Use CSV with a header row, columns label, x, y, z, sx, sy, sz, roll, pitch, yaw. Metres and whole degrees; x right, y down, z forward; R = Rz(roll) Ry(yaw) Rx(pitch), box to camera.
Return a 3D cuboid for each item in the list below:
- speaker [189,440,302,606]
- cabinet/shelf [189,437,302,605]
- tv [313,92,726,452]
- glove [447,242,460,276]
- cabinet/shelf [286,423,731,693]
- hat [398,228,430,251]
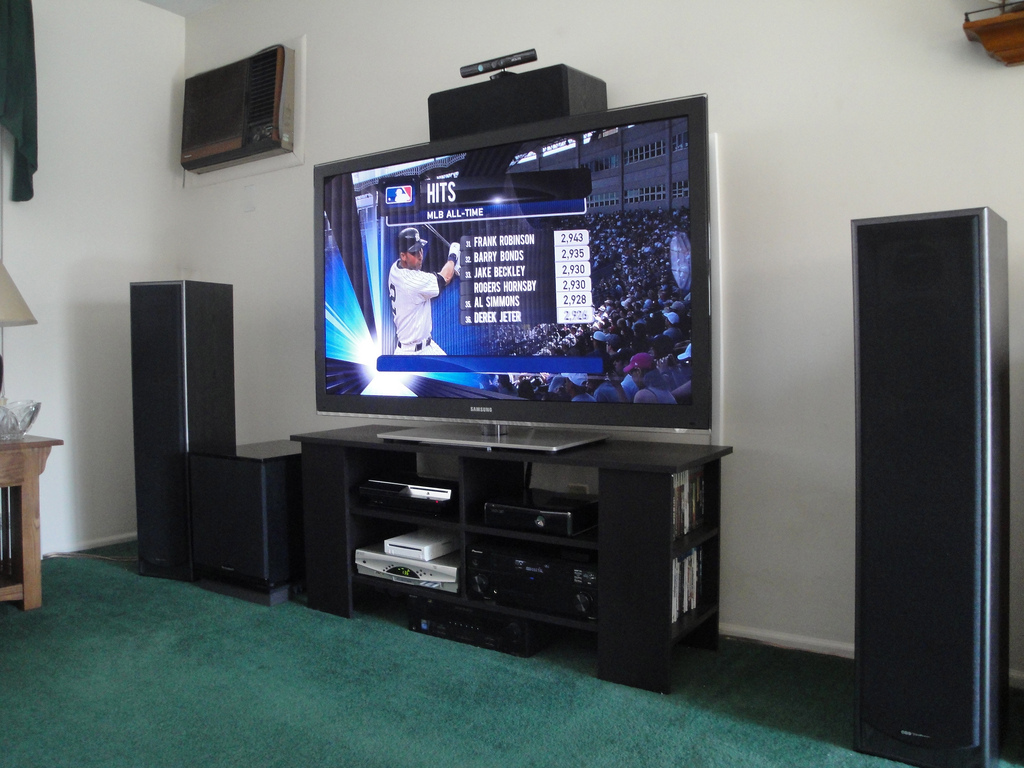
label,x,y,z,sx,sy,sz,roll,pitch,yaw
speaker,-1.086,0.603,3.938,0.524,0.571,0.534,0,1,31
cabinet/shelf,-1.157,0.560,3.754,0.533,0.572,0.540,0,3,36
tv,0.075,-0.407,3.261,1.384,0.893,0.154,2,4,27
glove,-0.223,-0.497,3.363,0.034,0.100,0.068,-4,3,-36
cabinet/shelf,-0.016,0.570,3.287,1.558,0.766,0.473,4,11,25
hat,-0.391,-0.571,3.449,0.103,0.060,0.082,-10,10,-16
